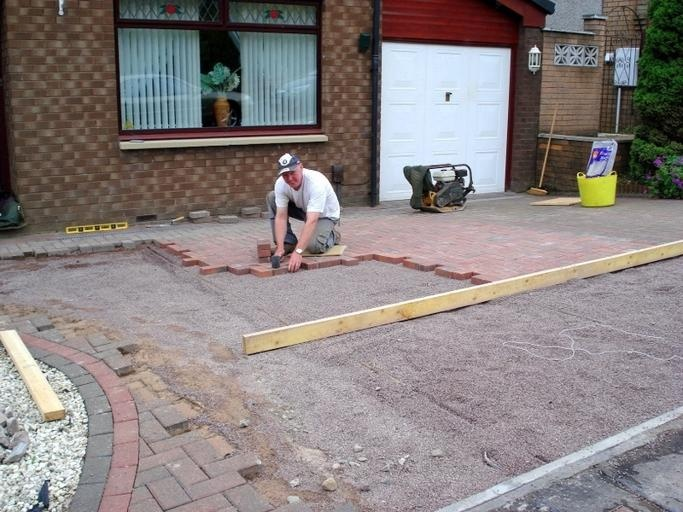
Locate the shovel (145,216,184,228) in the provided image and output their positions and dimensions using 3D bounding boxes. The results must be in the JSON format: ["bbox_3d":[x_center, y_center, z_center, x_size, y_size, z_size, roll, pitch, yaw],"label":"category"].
[{"bbox_3d":[-2.896,-0.577,9.001,0.661,0.119,0.287,-10,15,-40],"label":"shovel"}]

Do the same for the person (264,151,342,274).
[{"bbox_3d":[-0.498,-0.549,6.623,0.852,1.361,0.980,0,13,5],"label":"person"}]

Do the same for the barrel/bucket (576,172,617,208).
[{"bbox_3d":[5.078,-1.263,10.533,0.772,0.593,0.823,-2,1,0],"label":"barrel/bucket"}]

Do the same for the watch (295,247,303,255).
[{"bbox_3d":[-0.494,-0.060,6.298,0.087,0.089,0.061,-2,13,-6],"label":"watch"}]

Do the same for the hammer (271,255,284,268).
[{"bbox_3d":[-0.729,0.072,6.360,0.079,0.176,0.145,1,-7,17],"label":"hammer"}]
